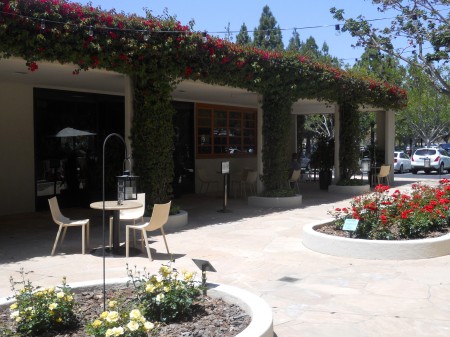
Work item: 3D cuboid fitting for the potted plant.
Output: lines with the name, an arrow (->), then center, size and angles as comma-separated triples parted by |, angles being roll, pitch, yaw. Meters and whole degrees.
potted plant -> 4.156, -0.285, 15.699 | 0.956, 2.294, 0.679 | -1, 2, 22

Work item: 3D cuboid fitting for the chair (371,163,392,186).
chair -> 7.055, 0.276, 16.737 | 0.735, 1.228, 0.800 | -4, 11, -20

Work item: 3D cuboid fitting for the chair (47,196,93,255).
chair -> -3.373, 1.232, 7.985 | 0.820, 1.408, 0.888 | -1, 1, 3

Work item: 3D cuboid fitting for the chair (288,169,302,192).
chair -> 2.468, 0.457, 13.110 | 0.435, 0.639, 0.394 | -23, -22, 33
